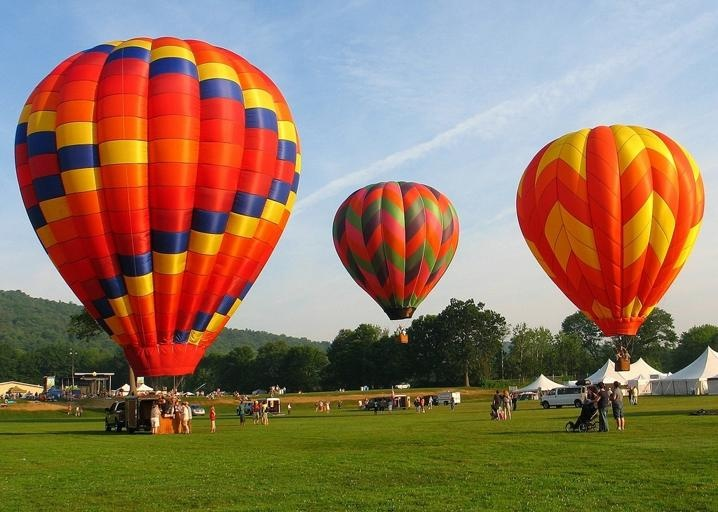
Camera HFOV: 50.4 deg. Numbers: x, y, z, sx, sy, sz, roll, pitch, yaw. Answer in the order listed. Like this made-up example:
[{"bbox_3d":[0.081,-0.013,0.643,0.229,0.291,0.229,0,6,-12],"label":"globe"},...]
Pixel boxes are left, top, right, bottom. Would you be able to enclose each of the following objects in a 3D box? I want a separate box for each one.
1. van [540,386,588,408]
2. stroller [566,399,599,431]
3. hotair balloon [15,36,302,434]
[{"bbox_3d":[12.652,8.829,47.632,2.525,1.119,1.484,-3,-5,36],"label":"van"},{"bbox_3d":[7.674,5.480,25.945,0.869,0.976,1.445,5,-14,-13],"label":"stroller"},{"bbox_3d":[-7.079,-2.204,27.105,8.874,11.664,3.634,7,-15,-20],"label":"hotair balloon"}]
